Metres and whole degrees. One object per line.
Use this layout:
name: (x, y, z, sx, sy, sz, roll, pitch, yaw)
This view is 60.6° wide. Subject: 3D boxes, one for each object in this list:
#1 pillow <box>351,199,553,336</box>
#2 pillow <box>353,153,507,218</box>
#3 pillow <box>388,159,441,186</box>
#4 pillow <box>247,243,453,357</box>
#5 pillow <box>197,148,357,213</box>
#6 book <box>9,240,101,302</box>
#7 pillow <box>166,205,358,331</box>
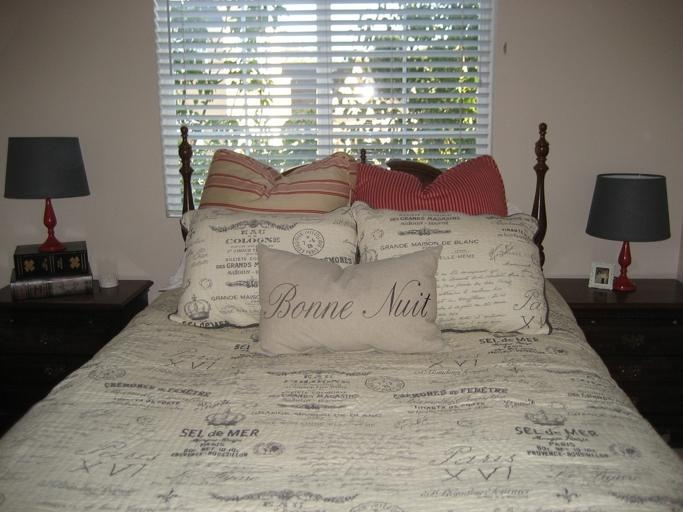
pillow: (0.464, 0.042, 2.012, 0.671, 0.409, 0.186, 2, -21, -1)
pillow: (0.377, -0.279, 2.437, 0.640, 0.273, 0.225, -1, -1, 24)
pillow: (0.346, -0.409, 2.760, 0.183, 0.038, 0.162, 15, -2, -18)
pillow: (0.025, 0.150, 1.921, 0.659, 0.337, 0.195, 0, 7, -2)
pillow: (-0.246, -0.300, 2.396, 0.669, 0.221, 0.279, -1, 19, -6)
book: (-1.304, 0.011, 2.623, 0.364, 0.159, 0.242, 0, 39, -15)
pillow: (-0.251, 0.045, 2.013, 0.510, 0.310, 0.172, -1, -6, 7)
